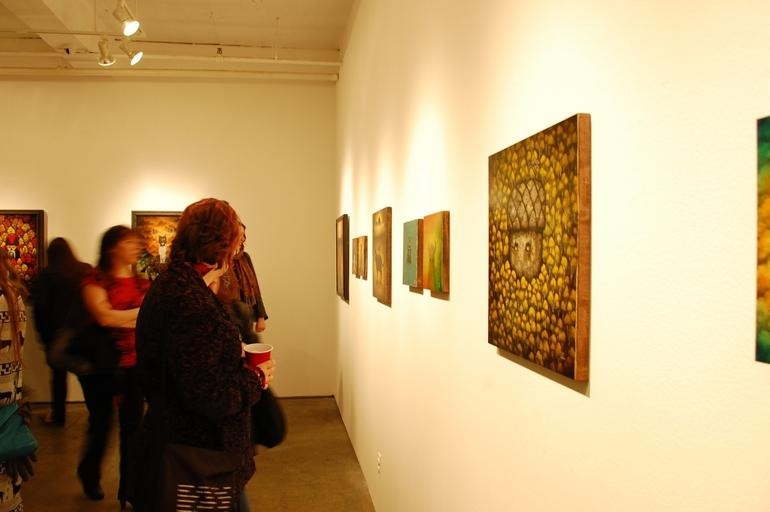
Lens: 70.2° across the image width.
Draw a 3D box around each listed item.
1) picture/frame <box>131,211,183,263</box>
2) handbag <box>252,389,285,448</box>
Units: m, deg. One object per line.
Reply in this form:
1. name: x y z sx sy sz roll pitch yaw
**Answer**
1. picture/frame: -2.379 -0.202 5.636 0.585 0.662 0.047 0 3 -3
2. handbag: -0.510 0.741 2.518 0.175 0.261 0.063 2 10 35
